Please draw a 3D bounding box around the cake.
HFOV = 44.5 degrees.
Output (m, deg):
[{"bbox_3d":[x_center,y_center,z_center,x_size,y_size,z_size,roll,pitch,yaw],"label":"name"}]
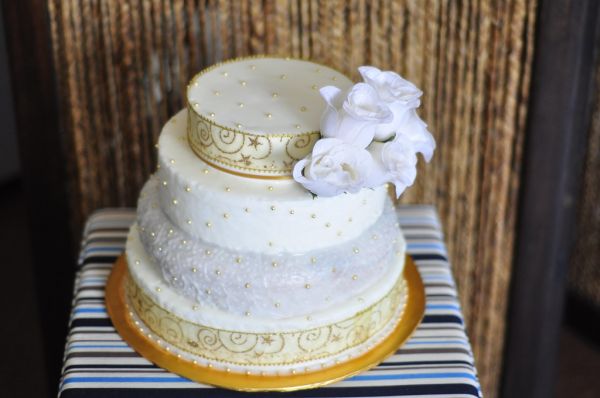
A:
[{"bbox_3d":[-0.162,-0.060,3.728,1.279,1.287,1.427,20,30,31],"label":"cake"}]
